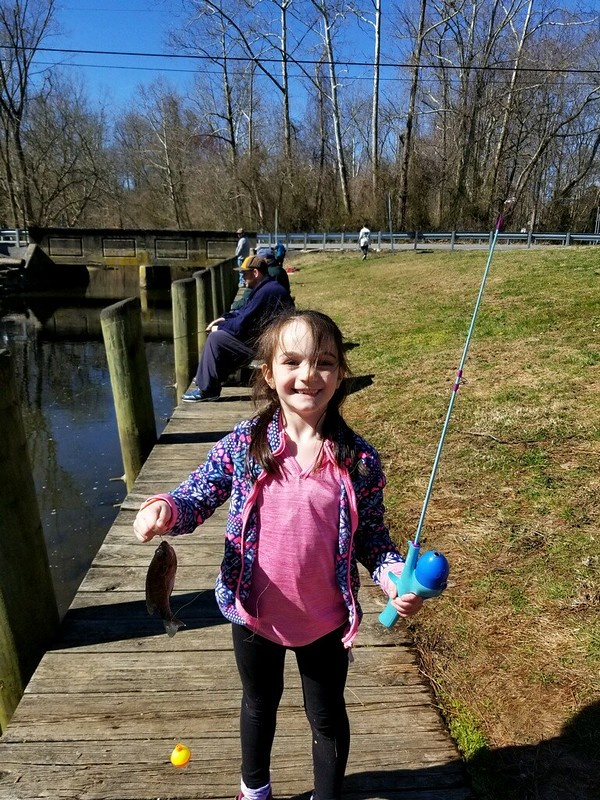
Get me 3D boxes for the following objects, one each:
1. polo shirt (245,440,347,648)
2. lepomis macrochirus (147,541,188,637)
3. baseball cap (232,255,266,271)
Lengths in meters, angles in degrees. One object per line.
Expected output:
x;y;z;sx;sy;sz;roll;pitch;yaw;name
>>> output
-0.006;0.375;1.856;0.273;0.440;0.389;0;10;-1;polo shirt
-0.354;0.514;1.923;0.166;0.269;0.150;1;4;0;lepomis macrochirus
-0.445;-1.164;5.982;0.237;0.122;0.161;2;6;-2;baseball cap
